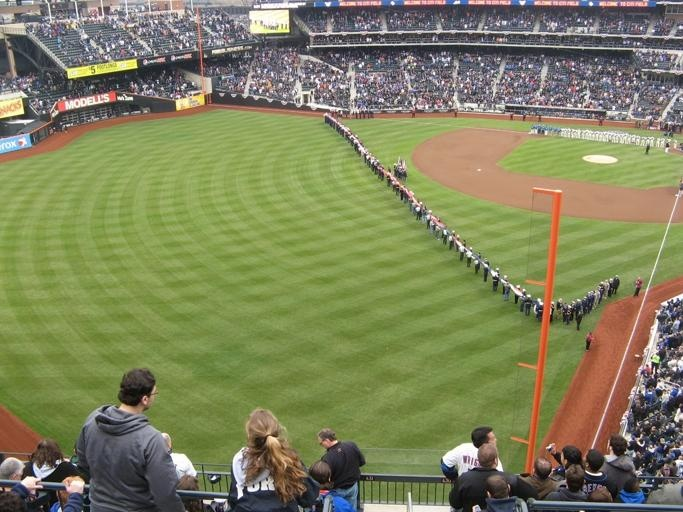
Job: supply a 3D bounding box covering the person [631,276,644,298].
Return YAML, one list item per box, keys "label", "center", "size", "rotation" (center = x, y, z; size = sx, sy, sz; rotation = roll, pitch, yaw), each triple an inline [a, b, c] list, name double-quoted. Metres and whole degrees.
- label: "person"
  center: [17.432, 1.736, 66.924]
  size: [0.507, 1.077, 1.366]
  rotation: [4, 13, 14]
